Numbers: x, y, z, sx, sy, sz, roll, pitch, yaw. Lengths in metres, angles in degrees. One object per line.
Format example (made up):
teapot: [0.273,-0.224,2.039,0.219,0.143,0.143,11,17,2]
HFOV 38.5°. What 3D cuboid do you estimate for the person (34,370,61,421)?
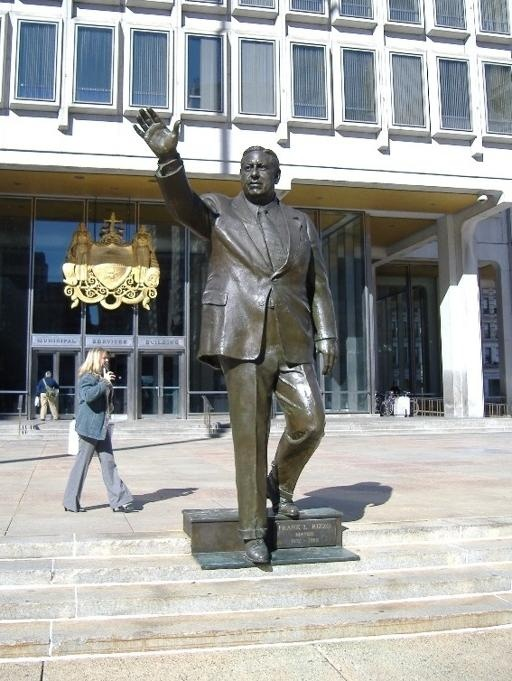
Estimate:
person: [-6.180,1.637,21.812,0.660,1.468,1.644,0,-2,-16]

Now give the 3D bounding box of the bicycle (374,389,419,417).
bicycle: [5.239,2.268,27.265,1.909,1.156,0.922,1,-4,-24]

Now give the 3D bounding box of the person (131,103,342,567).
person: [-0.039,0.018,4.275,1.242,2.495,0.528,0,-3,-32]

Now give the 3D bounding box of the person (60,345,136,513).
person: [-1.353,0.748,6.347,0.577,1.365,0.769,-1,-2,-10]
